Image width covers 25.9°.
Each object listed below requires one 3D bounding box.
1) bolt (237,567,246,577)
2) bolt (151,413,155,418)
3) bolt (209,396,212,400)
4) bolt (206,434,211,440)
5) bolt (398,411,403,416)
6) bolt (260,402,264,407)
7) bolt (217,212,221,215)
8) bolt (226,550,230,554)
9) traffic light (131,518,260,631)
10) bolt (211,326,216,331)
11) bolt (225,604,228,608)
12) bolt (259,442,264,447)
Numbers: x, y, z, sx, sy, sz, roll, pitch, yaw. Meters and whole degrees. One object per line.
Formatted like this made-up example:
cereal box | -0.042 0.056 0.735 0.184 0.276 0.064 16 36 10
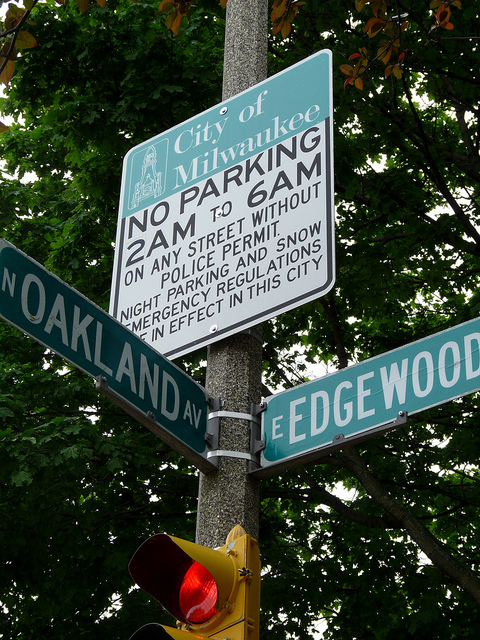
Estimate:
bolt | 0.010 0.931 3.826 0.030 0.028 0.018 1 -7 -38
bolt | -0.365 0.404 4.352 0.018 0.025 0.013 3 -3 -22
bolt | -0.129 0.348 4.592 0.011 0.010 0.011 -5 4 -34
bolt | -0.136 0.509 4.480 0.022 0.020 0.005 -2 -5 -14
bolt | 0.666 0.389 4.309 0.017 0.014 0.013 -8 -7 33
bolt | 0.094 0.381 4.614 0.011 0.019 0.027 2 -8 -41
bolt | -0.100 -0.504 4.944 0.015 0.016 0.005 -1 -1 3
bolt | -0.044 0.873 3.898 0.010 0.009 0.010 -11 6 -32
traffic light | -0.153 0.968 3.824 0.475 0.375 0.333 -3 -6 -7
bolt | -0.121 0.045 4.697 0.018 0.017 0.009 -4 -6 9
bolt | -0.050 1.045 3.785 0.010 0.011 0.002 -4 -5 1
bolt | 0.091 0.542 4.505 0.015 0.014 0.009 -5 -6 13
